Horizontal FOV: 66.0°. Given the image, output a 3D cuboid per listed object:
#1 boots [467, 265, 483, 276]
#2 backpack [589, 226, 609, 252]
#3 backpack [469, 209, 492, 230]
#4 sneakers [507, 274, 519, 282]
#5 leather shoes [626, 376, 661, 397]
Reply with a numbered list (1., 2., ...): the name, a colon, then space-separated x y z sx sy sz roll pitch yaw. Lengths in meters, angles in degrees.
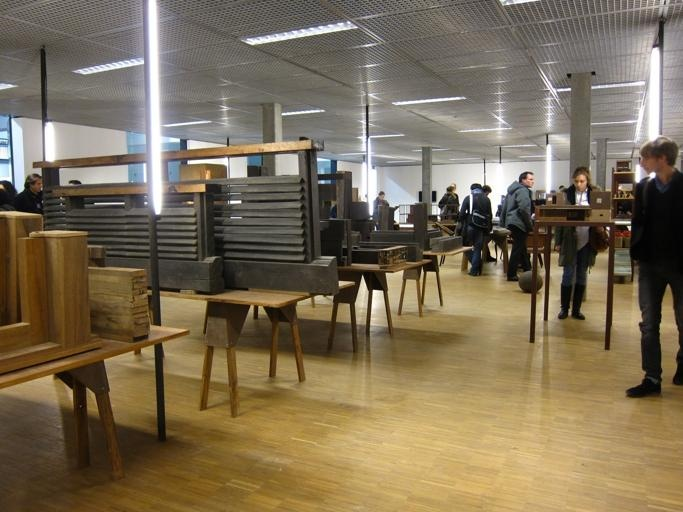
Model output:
1. boots: 2.574 0.272 10.168 0.129 0.210 0.319 0 15 4
2. backpack: 2.816 -0.197 5.790 0.112 0.271 0.145 -28 26 12
3. backpack: 2.663 -0.710 10.067 0.342 0.303 0.182 16 -7 -17
4. sneakers: 3.042 0.392 9.388 0.129 0.143 0.357 -2 -2 19
5. leather shoes: 2.323 1.022 4.112 0.339 0.129 0.116 -1 0 -16
